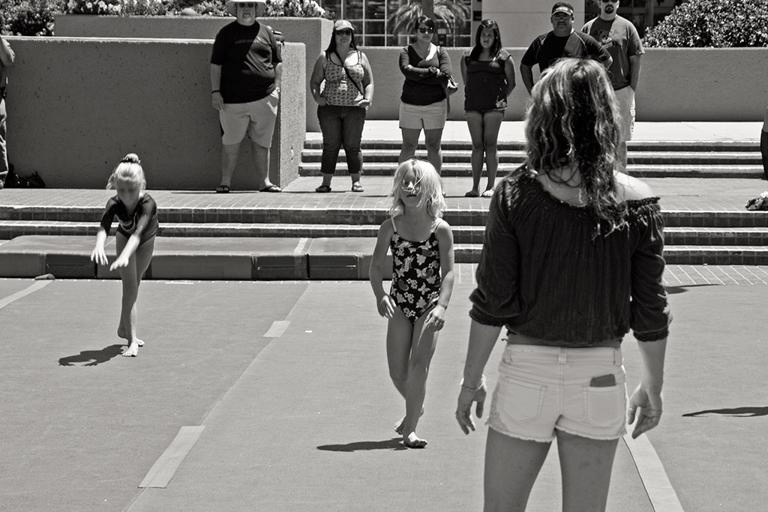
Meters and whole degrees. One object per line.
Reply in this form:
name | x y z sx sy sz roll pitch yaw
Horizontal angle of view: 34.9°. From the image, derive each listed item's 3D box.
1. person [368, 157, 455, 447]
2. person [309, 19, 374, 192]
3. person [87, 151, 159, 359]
person | 0.216 0.361 9.679 0.643 2.127 0.725 0 15 -7
person | -0.576 -1.920 16.149 0.806 2.283 0.876 1 15 -3
person | -2.415 -0.014 11.342 0.509 1.791 0.809 2 15 3
